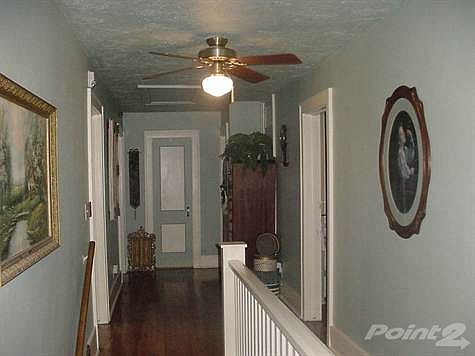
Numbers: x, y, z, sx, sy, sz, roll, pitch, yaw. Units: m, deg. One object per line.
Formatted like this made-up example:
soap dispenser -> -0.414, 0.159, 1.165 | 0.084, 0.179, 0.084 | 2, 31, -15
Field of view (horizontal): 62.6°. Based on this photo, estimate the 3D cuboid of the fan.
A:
fan -> -0.092, -0.986, 3.106 | 1.028, 0.376, 0.715 | -5, 2, -11
